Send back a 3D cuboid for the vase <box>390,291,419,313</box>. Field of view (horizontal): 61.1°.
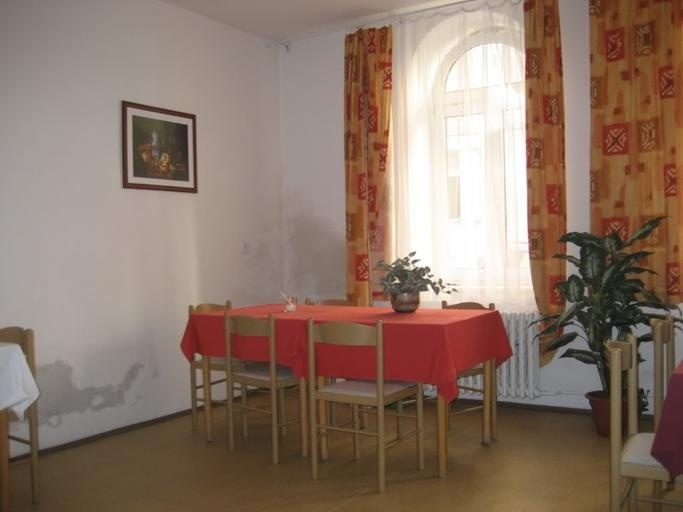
[{"bbox_3d":[0.483,0.352,4.329,0.155,0.118,0.157,1,1,-6],"label":"vase"}]

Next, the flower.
[{"bbox_3d":[0.497,0.111,4.394,0.504,0.214,0.405,-17,6,-42],"label":"flower"}]

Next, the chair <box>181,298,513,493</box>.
[{"bbox_3d":[-0.006,0.914,4.512,2.475,1.083,1.212,1,5,28],"label":"chair"}]

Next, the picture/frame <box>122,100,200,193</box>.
[{"bbox_3d":[-1.660,-0.981,5.218,0.049,0.849,0.780,3,6,41],"label":"picture/frame"}]
